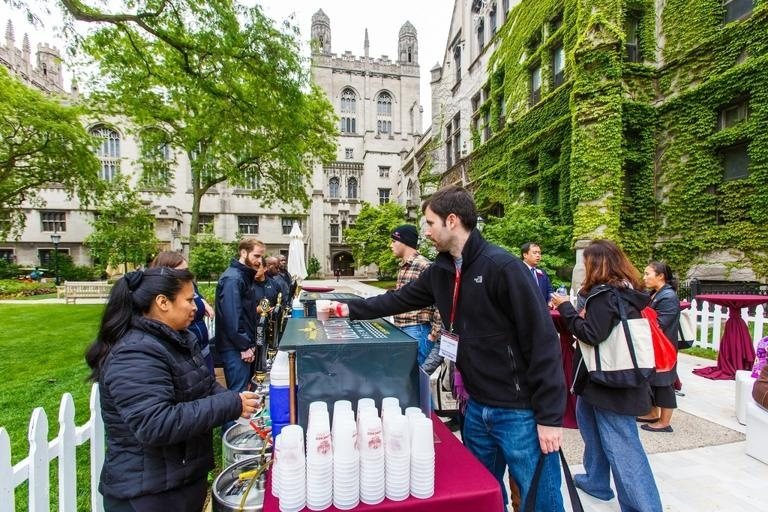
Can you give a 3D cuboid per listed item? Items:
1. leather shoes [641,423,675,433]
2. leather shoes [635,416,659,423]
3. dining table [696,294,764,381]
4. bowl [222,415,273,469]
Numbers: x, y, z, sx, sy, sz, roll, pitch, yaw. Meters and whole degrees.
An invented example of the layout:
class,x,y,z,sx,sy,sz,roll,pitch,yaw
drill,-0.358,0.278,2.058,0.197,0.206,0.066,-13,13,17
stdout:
class,x,y,z,sx,sy,sz,roll,pitch,yaw
leather shoes,6.177,3.930,12.709,0.602,0.183,0.260,5,-8,10
leather shoes,6.015,3.762,12.810,0.485,0.148,0.189,1,-5,23
dining table,9.470,2.190,15.395,1.956,2.090,2.089,0,-2,-2
bowl,-2.743,3.724,11.192,1.004,0.731,0.997,-3,-9,0
